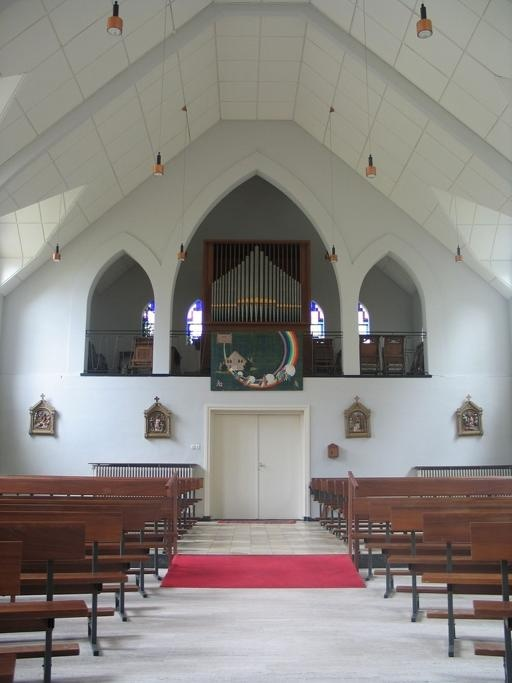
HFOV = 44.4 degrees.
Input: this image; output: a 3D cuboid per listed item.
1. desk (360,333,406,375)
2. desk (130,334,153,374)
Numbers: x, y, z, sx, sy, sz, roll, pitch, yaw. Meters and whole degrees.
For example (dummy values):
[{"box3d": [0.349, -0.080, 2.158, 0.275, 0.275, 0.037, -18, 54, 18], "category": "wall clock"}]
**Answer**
[{"box3d": [2.512, 0.287, 12.568, 0.662, 0.653, 0.281, 2, -14, -4], "category": "desk"}, {"box3d": [-2.250, 0.267, 12.515, 0.420, 0.786, 0.989, 2, -6, -12], "category": "desk"}]
